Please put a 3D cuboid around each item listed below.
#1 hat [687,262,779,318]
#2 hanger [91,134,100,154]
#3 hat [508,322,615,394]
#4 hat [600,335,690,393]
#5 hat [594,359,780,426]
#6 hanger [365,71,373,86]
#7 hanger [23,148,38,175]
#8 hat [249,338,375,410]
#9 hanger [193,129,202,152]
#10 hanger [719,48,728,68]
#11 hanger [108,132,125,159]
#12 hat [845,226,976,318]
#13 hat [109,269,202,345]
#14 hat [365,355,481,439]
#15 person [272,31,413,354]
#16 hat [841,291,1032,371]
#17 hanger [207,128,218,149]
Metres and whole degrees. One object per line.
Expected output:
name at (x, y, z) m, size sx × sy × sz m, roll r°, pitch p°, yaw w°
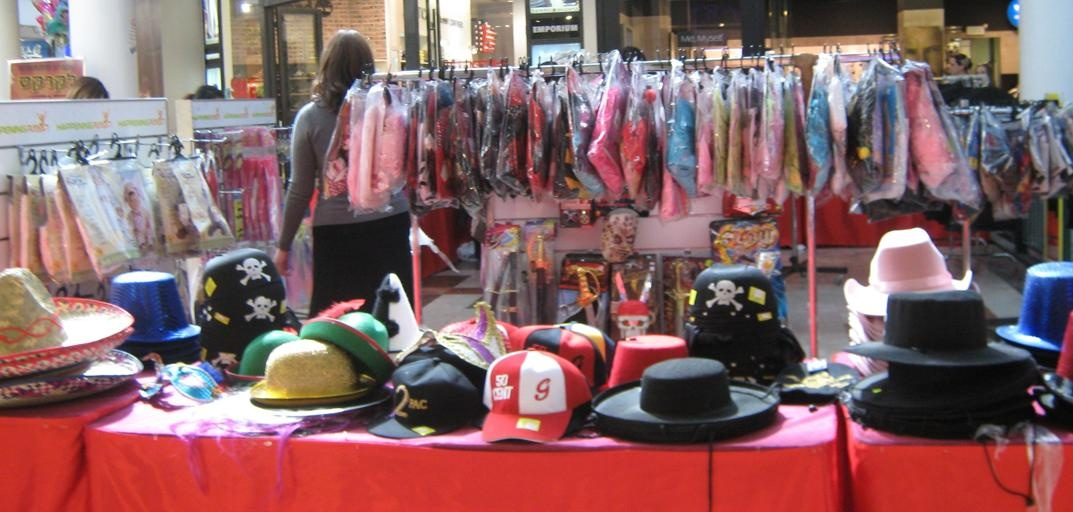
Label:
hat at (1.128, 0.183, 4.840) m, size 0.438 × 0.296 × 0.294 m, roll -9°, pitch 4°, yaw 7°
hanger at (-3.122, -0.804, 5.883) m, size 0.038 × 0.145 × 0.095 m, roll -1°, pitch 9°, yaw -43°
hat at (0.169, 0.560, 4.708) m, size 0.367 × 0.185 × 0.521 m, roll 9°, pitch -1°, yaw 33°
hat at (0.598, 0.594, 4.661) m, size 0.365 × 0.188 × 0.348 m, roll -1°, pitch 5°, yaw 14°
hat at (0.814, 0.740, 4.429) m, size 0.554 × 0.128 × 0.517 m, roll -3°, pitch 3°, yaw -24°
hanger at (-1.194, -1.277, 5.895) m, size 0.034 × 0.092 × 0.070 m, roll 5°, pitch -7°, yaw 8°
hanger at (-3.443, -0.656, 5.647) m, size 0.112 × 0.166 × 0.062 m, roll -9°, pitch 13°, yaw -29°
hat at (-1.264, 0.663, 4.582) m, size 0.457 × 0.158 × 0.469 m, roll 3°, pitch 2°, yaw 42°
hanger at (-2.676, -0.927, 6.557) m, size 0.069 × 0.148 × 0.629 m, roll -7°, pitch 12°, yaw -21°
hanger at (1.366, -1.451, 6.056) m, size 0.061 × 0.127 × 0.168 m, roll 0°, pitch 11°, yaw 12°
hanger at (-2.997, -0.795, 5.914) m, size 0.076 × 0.178 × 0.365 m, roll -8°, pitch 12°, yaw -25°
hat at (2.221, 0.100, 5.056) m, size 0.577 × 0.236 × 0.674 m, roll -8°, pitch 6°, yaw 25°
hat at (-2.330, 0.282, 5.086) m, size 0.500 × 0.261 × 0.466 m, roll 3°, pitch 9°, yaw 2°
hat at (-0.598, 0.783, 4.503) m, size 0.585 × 0.270 × 0.378 m, roll -2°, pitch 7°, yaw -39°
person at (-1.390, -0.589, 5.776) m, size 0.955 × 1.964 × 0.589 m, roll -5°, pitch 12°, yaw -8°
hat at (2.134, 0.320, 4.423) m, size 0.597 × 0.202 × 0.555 m, roll -3°, pitch 4°, yaw -6°
hanger at (-2.557, -0.936, 6.620) m, size 0.087 × 0.126 × 0.278 m, roll -7°, pitch 12°, yaw -20°
